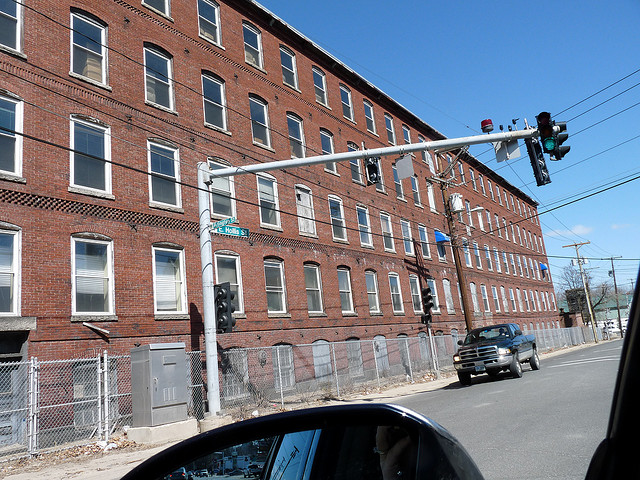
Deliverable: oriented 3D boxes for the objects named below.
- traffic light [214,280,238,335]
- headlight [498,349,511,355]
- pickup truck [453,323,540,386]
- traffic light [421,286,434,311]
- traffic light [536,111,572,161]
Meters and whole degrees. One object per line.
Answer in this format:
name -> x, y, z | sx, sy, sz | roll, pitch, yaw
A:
traffic light -> -2.714, 1.920, 13.758 | 0.576, 1.458, 0.504 | -3, -16, -12
headlight -> 6.670, 4.075, 17.457 | 0.219, 0.224, 0.057 | 2, -12, -8
pickup truck -> 7.091, 4.472, 19.066 | 1.890, 1.338, 3.696 | -15, -26, 23
traffic light -> 5.057, 2.812, 22.832 | 0.435, 1.186, 1.630 | -10, -17, 11
traffic light -> 5.372, -2.312, 11.024 | 0.662, 1.085, 0.589 | -8, -16, 7
